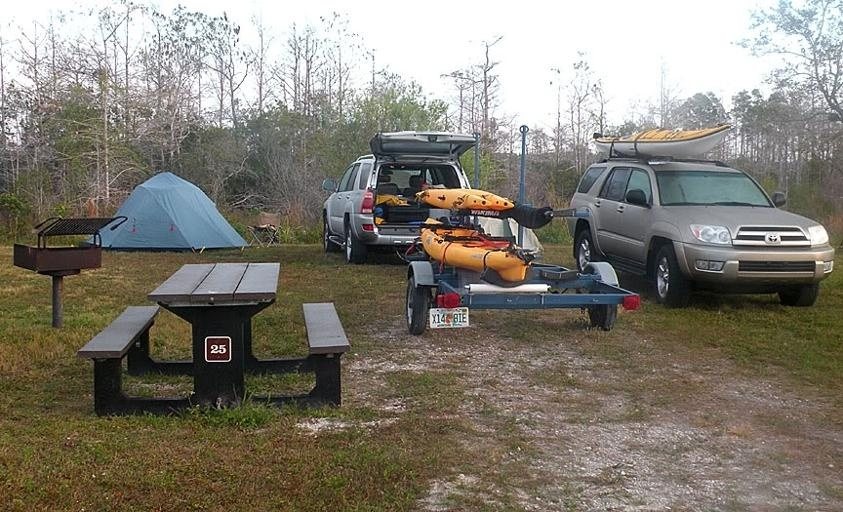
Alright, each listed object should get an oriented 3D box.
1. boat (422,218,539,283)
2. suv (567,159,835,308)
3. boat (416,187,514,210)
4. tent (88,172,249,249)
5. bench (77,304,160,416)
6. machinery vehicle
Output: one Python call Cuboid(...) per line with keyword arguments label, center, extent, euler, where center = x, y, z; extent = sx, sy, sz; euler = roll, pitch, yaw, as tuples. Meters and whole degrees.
Cuboid(label="boat", center=(0.855, -0.014, 10.727), extent=(0.816, 0.687, 2.083), euler=(-2, 7, -29))
Cuboid(label="suv", center=(4.918, -0.484, 13.940), extent=(2.854, 2.344, 5.314), euler=(1, 3, -17))
Cuboid(label="boat", center=(0.709, -0.877, 11.269), extent=(0.991, 0.206, 0.579), euler=(5, 1, 32))
Cuboid(label="tent", center=(-6.557, -1.028, 18.584), extent=(3.105, 1.770, 1.096), euler=(-1, 7, -22))
Cuboid(label="bench", center=(-3.729, 1.299, 8.740), extent=(0.547, 0.960, 1.233), euler=(0, 6, -7))
Cuboid(label="machinery vehicle", center=(1.127, 0.045, 10.643), extent=(2.091, 1.348, 3.590), euler=(0, 6, -14))
